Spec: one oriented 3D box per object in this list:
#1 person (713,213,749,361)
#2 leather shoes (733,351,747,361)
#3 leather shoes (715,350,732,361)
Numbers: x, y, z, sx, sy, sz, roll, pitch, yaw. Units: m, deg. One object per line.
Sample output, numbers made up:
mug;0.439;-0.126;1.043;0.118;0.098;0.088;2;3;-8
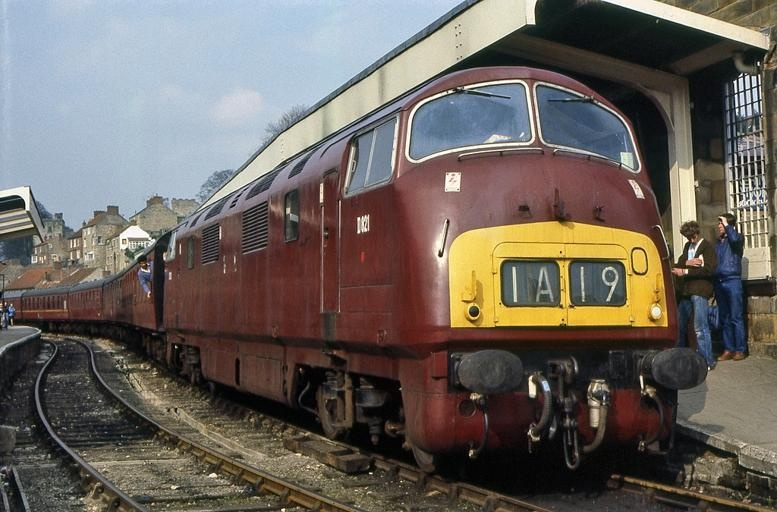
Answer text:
person;6.352;0.592;13.625;0.532;2.687;1.239;1;-1;26
leather shoes;6.578;1.867;13.817;0.102;0.127;0.288;-8;-17;40
leather shoes;6.400;1.889;13.997;0.342;0.160;0.116;5;-7;-25
